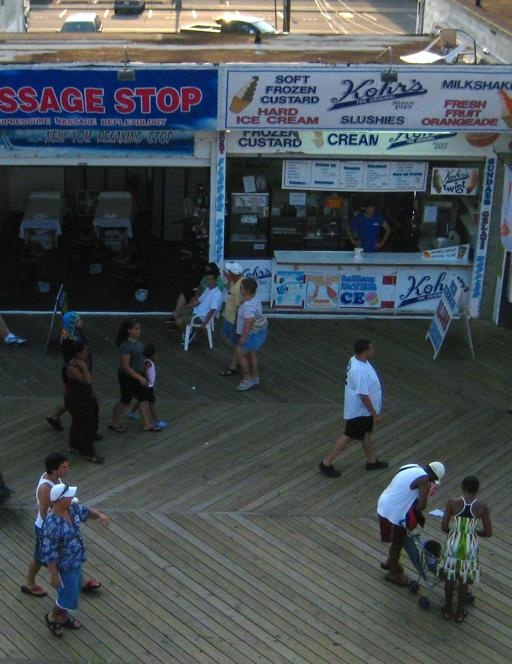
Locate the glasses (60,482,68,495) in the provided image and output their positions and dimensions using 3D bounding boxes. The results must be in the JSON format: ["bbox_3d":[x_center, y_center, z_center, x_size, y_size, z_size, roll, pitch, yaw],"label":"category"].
[{"bbox_3d":[-1.293,1.049,4.650,0.052,0.057,0.036,0,-8,-4],"label":"glasses"}]

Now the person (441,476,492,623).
[{"bbox_3d":[1.613,1.663,5.350,0.349,1.303,0.514,7,21,19],"label":"person"}]

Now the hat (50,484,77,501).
[{"bbox_3d":[-1.297,1.082,4.656,0.195,0.079,0.109,-9,20,-4],"label":"hat"}]

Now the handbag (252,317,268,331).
[{"bbox_3d":[0.038,-0.092,8.678,0.161,0.069,0.196,-21,23,-38],"label":"handbag"}]

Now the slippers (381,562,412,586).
[{"bbox_3d":[1.194,2.031,5.881,0.316,0.171,0.098,9,39,23],"label":"slippers"}]

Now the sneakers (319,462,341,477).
[{"bbox_3d":[0.799,1.461,7.358,0.243,0.080,0.129,12,23,32],"label":"sneakers"}]

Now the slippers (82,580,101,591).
[{"bbox_3d":[-1.324,2.042,5.567,0.185,0.041,0.061,-2,36,-1],"label":"slippers"}]

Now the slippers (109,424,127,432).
[{"bbox_3d":[-1.598,1.118,8.031,0.163,0.043,0.084,12,27,22],"label":"slippers"}]

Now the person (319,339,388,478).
[{"bbox_3d":[1.012,0.817,7.003,0.703,1.597,0.700,3,20,10],"label":"person"}]

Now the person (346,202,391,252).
[{"bbox_3d":[1.914,-1.731,11.751,0.714,0.775,0.784,0,18,-1],"label":"person"}]

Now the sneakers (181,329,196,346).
[{"bbox_3d":[-1.022,0.071,10.235,0.128,0.326,0.148,11,-23,7],"label":"sneakers"}]

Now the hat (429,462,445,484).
[{"bbox_3d":[1.407,1.098,5.404,0.110,0.217,0.216,5,19,14],"label":"hat"}]

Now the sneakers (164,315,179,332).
[{"bbox_3d":[-1.343,-0.144,10.917,0.150,0.147,0.411,2,16,-13],"label":"sneakers"}]

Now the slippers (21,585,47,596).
[{"bbox_3d":[-1.758,2.055,5.467,0.181,0.050,0.089,7,22,-5],"label":"slippers"}]

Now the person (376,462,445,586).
[{"bbox_3d":[1.229,1.569,5.589,0.453,1.228,0.290,9,22,23],"label":"person"}]

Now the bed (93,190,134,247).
[{"bbox_3d":[-3.002,-2.320,14.540,0.796,0.720,1.271,2,34,-8],"label":"bed"}]
